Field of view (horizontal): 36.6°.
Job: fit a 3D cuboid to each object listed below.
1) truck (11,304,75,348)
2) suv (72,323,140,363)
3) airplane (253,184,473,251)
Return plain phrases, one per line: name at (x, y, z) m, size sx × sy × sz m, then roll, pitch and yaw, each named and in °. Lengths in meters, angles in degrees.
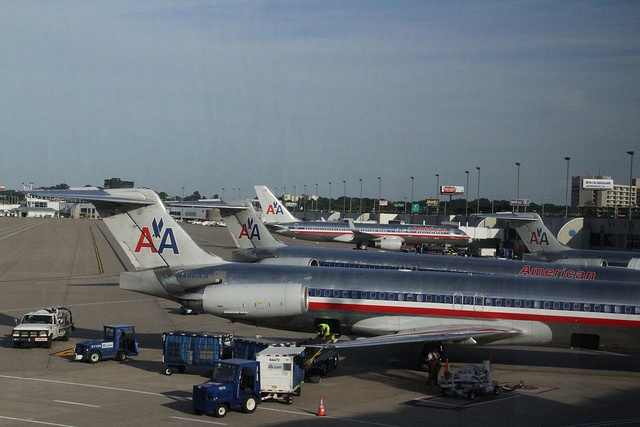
truck at (-17.006, 7.053, 59.352) m, size 2.777 × 1.964 × 4.647 m, roll 1°, pitch -1°, yaw -8°
suv at (-12.569, 7.652, 56.812) m, size 3.501 × 1.908 × 1.519 m, roll -3°, pitch 13°, yaw -18°
airplane at (6.196, 1.207, 121.344) m, size 37.895 × 8.586 × 7.847 m, roll 0°, pitch 0°, yaw -2°
